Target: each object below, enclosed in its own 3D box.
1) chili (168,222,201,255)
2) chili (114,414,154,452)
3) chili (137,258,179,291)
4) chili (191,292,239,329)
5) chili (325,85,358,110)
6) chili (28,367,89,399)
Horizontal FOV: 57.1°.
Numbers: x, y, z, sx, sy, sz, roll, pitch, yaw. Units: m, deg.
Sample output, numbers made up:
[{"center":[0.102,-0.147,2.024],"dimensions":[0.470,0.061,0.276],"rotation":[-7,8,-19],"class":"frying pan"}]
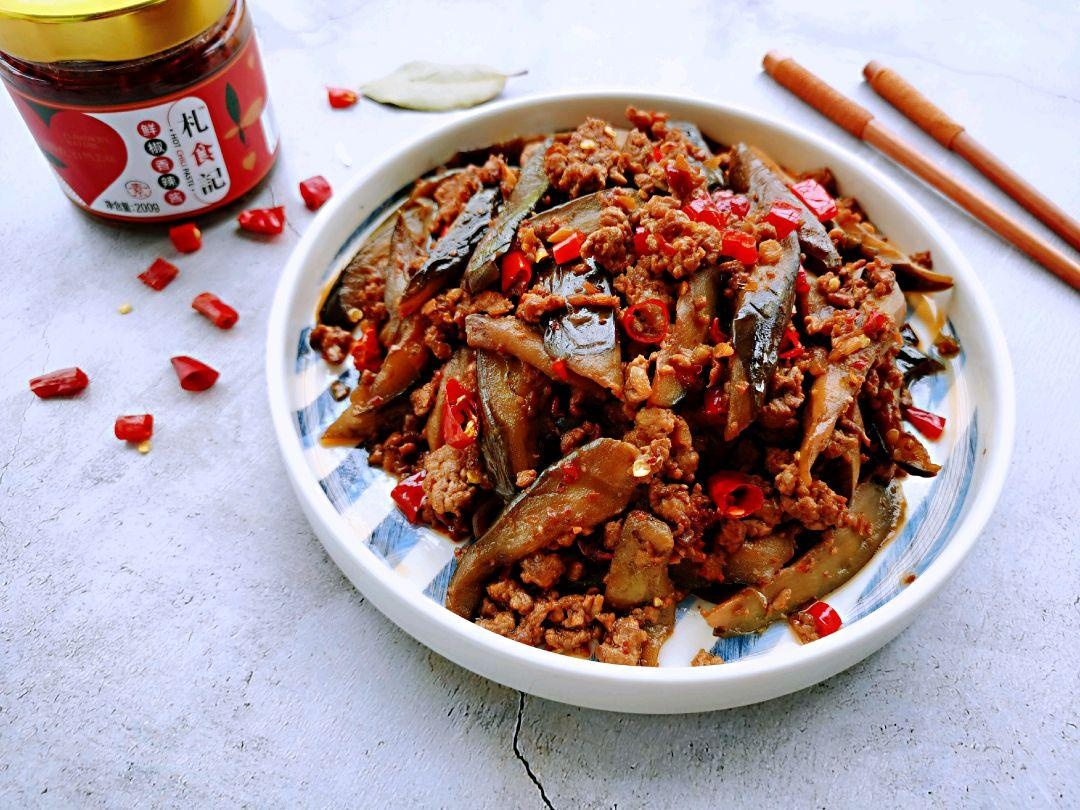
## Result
[{"center":[-1.189,-0.563,3.362],"dimensions":[0.088,0.102,0.095],"rotation":[39,43,20],"class":"chili"},{"center":[-1.219,0.083,3.014],"dimensions":[0.100,0.106,0.110],"rotation":[3,89,25],"class":"chili"},{"center":[-1.261,-0.438,3.299],"dimensions":[0.108,0.037,0.114],"rotation":[35,85,8],"class":"chili"},{"center":[-1.050,-0.310,3.225],"dimensions":[0.094,0.064,0.147],"rotation":[-34,61,-29],"class":"chili"},{"center":[-0.754,-1.167,3.744],"dimensions":[0.095,0.030,0.087],"rotation":[2,84,-10],"class":"chili"},{"center":[-1.489,-0.059,3.080],"dimensions":[0.149,0.058,0.094],"rotation":[-9,44,-10],"class":"chili"}]
